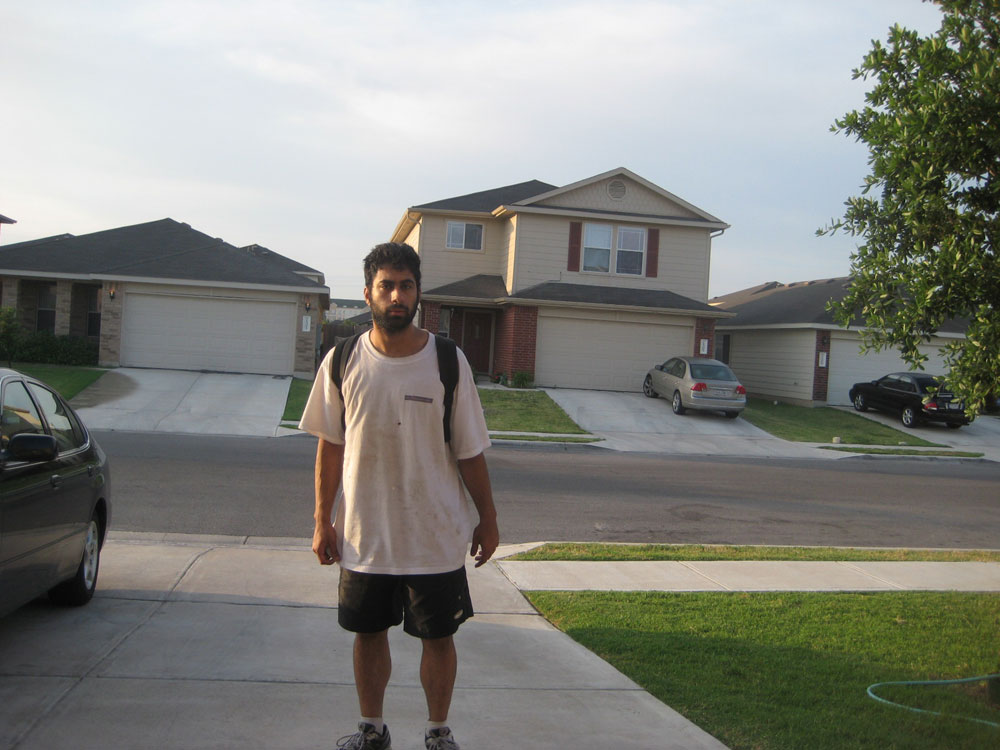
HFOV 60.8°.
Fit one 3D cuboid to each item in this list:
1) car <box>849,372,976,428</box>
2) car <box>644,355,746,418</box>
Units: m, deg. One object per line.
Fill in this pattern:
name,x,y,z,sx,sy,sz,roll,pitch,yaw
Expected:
car,10.371,0.720,21.929,1.112,1.026,2.905,5,7,-14
car,5.571,0.302,25.589,1.441,1.614,3.070,0,6,-35
